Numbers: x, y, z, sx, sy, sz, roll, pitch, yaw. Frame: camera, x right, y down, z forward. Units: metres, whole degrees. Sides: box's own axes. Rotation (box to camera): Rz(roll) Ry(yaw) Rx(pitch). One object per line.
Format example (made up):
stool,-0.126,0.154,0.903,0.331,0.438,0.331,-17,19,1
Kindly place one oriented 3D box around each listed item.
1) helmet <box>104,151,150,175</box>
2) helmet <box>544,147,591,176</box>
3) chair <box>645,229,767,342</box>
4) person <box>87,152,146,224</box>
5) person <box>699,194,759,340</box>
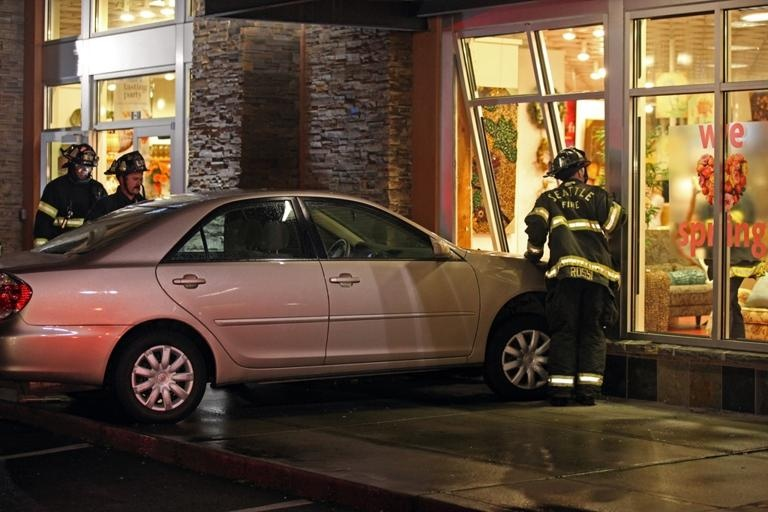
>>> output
helmet,-3.316,-1.184,9.638,0.550,0.262,0.379,2,6,20
helmet,2.162,-1.140,8.645,0.504,0.237,0.347,-9,-9,-35
chair,4.079,0.293,9.160,1.311,1.207,1.194,8,-9,-39
person,-3.300,-0.860,9.713,0.684,0.922,1.138,8,8,43
person,3.950,0.104,8.555,0.617,1.633,0.277,1,5,30
